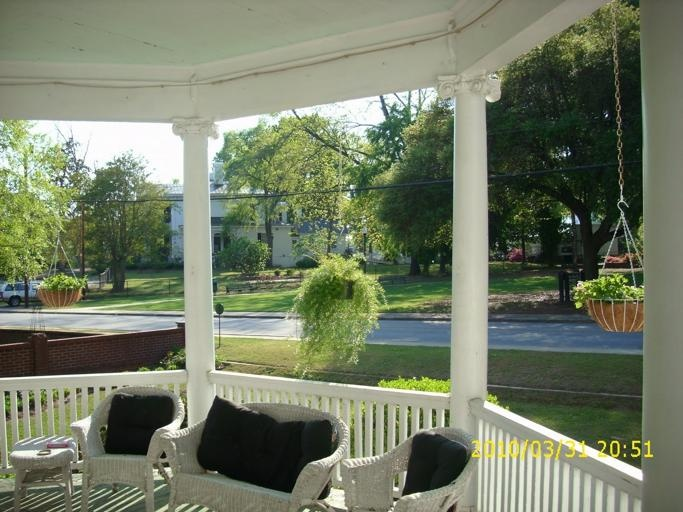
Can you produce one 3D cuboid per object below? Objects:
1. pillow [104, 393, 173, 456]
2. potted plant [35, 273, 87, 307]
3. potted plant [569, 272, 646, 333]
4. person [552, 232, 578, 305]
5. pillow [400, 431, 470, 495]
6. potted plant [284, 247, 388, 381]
[{"bbox_3d":[-1.880,1.521,6.364,0.495,0.572,0.199,4,-1,1],"label":"pillow"},{"bbox_3d":[-3.406,0.409,8.568,0.493,0.424,0.426,0,-2,18],"label":"potted plant"},{"bbox_3d":[2.287,0.393,6.036,0.554,0.498,0.376,0,-2,22],"label":"potted plant"},{"bbox_3d":[7.705,0.418,23.222,0.564,2.278,0.628,18,17,29],"label":"person"},{"bbox_3d":[0.710,1.644,5.426,0.436,0.488,0.164,6,-10,46],"label":"pillow"},{"bbox_3d":[-0.044,0.617,8.530,1.060,1.301,0.808,-1,-2,26],"label":"potted plant"}]
